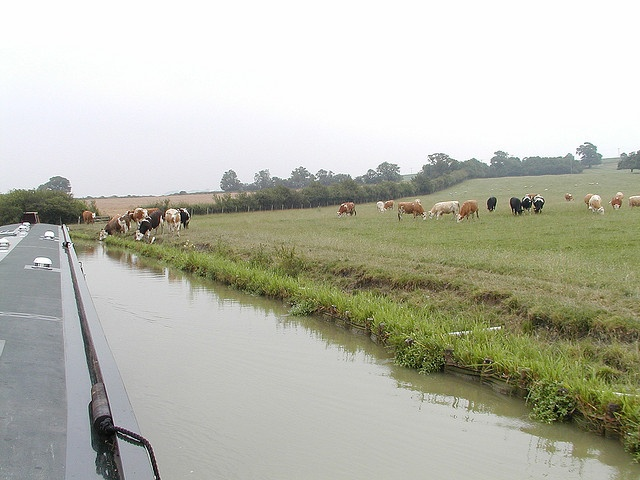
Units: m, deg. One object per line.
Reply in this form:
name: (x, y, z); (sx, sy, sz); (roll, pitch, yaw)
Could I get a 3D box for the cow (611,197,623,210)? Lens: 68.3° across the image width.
cow: (21.389, -2.603, 33.959); (0.740, 1.334, 0.453); (37, -31, -18)

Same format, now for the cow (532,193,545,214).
cow: (15.083, -2.426, 32.475); (0.532, 1.075, 2.032); (5, 10, 21)
